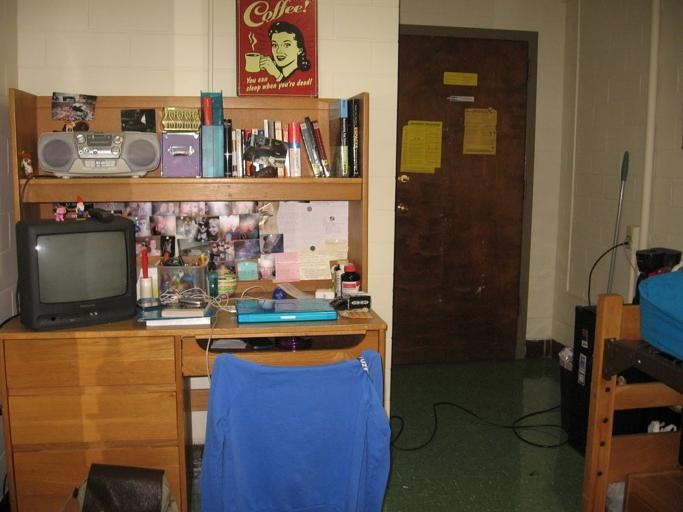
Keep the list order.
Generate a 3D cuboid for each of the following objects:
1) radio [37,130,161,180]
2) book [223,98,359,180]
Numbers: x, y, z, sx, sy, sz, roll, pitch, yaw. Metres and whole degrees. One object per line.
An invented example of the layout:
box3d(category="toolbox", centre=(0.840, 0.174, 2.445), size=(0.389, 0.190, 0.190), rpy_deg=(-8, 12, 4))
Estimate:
box3d(category="radio", centre=(-1.073, -0.453, 2.786), size=(0.553, 0.200, 0.123), rpy_deg=(0, 0, -1))
box3d(category="book", centre=(-0.192, -0.605, 2.940), size=(0.684, 0.393, 0.181), rpy_deg=(2, 12, -15))
